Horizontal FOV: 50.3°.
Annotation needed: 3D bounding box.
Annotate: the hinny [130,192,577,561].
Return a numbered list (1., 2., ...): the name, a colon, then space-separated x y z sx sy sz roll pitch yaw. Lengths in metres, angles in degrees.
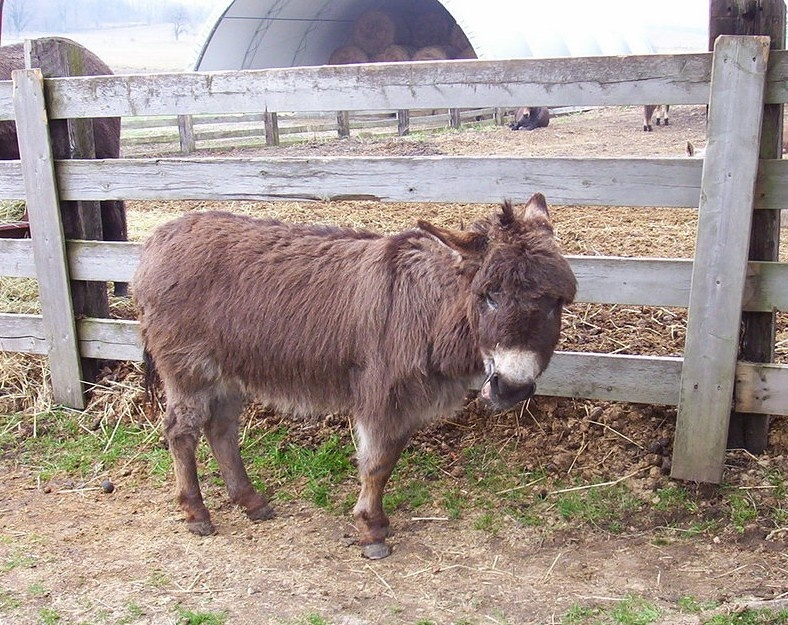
1. hinny: -0.264 0.376 4.859 3.180 1.967 1.116 3 9 37
